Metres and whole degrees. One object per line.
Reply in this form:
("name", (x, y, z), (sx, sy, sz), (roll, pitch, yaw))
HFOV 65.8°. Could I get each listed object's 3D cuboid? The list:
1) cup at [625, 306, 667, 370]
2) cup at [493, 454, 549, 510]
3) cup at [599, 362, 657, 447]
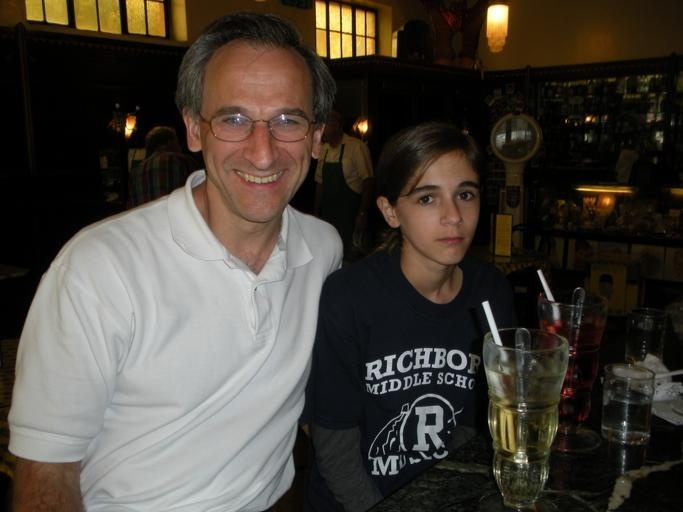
("cup", (1.159, 0.309, 2.026), (0.126, 0.206, 0.128), (0, 9, 0))
("cup", (0.427, 0.540, 1.267), (0.122, 0.129, 0.110), (1, 0, 11))
("cup", (0.861, 0.428, 1.590), (0.122, 0.200, 0.199), (4, 7, 32))
